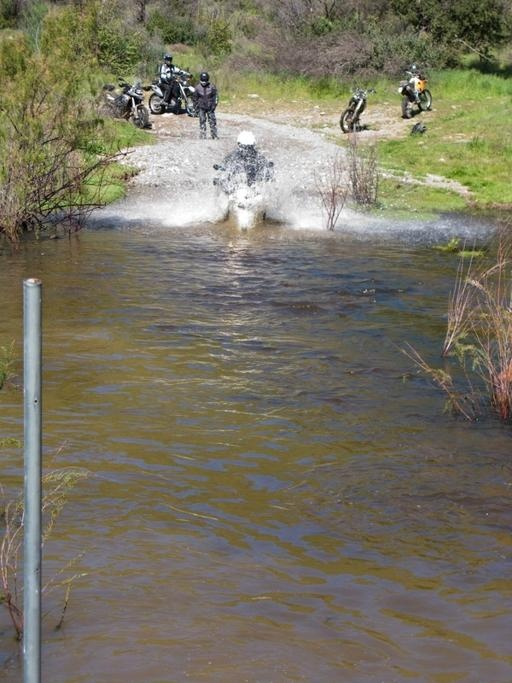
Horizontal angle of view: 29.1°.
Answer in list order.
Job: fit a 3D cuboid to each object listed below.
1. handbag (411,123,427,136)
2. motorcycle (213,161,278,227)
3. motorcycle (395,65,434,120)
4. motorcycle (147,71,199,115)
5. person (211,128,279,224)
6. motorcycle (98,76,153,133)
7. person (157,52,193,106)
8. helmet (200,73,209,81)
[{"bbox_3d":[4.038,-5.212,24.177,0.138,0.384,0.401,34,7,-2],"label":"handbag"},{"bbox_3d":[-0.178,-2.259,15.270,0.932,1.057,0.590,-2,-6,-3],"label":"motorcycle"},{"bbox_3d":[4.551,-6.824,27.061,0.935,1.154,2.121,-3,11,27],"label":"motorcycle"},{"bbox_3d":[-2.167,-6.588,26.409,2.087,1.143,1.008,5,21,27],"label":"motorcycle"},{"bbox_3d":[-0.167,-2.479,15.013,0.889,0.959,1.517,1,53,1],"label":"person"},{"bbox_3d":[-3.092,-5.831,24.056,0.882,0.933,1.860,-17,26,-36],"label":"motorcycle"},{"bbox_3d":[-2.228,-6.923,26.057,0.707,1.312,1.484,3,16,9],"label":"person"},{"bbox_3d":[-1.187,-6.213,23.046,0.196,0.211,0.232,3,-13,0],"label":"helmet"}]
